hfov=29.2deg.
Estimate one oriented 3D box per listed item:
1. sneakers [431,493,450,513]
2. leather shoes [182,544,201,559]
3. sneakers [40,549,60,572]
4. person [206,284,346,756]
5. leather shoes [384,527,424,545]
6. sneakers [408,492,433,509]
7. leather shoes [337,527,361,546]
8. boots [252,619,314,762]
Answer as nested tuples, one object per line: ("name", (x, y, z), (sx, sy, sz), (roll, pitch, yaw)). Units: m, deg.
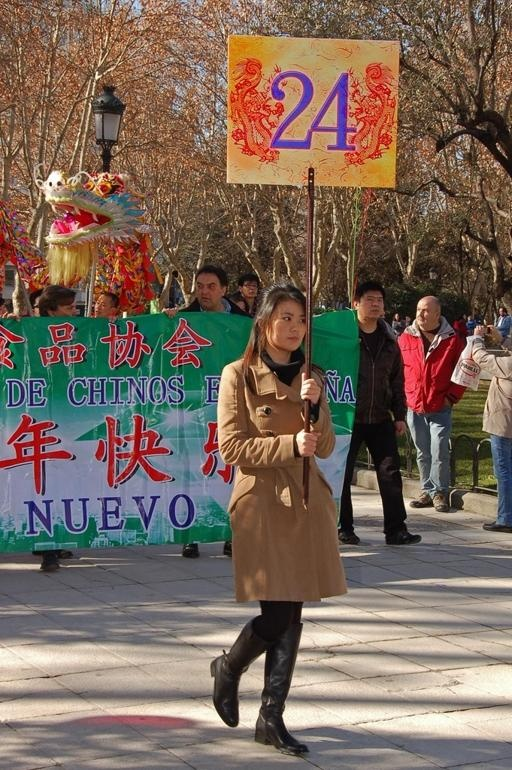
("sneakers", (1.709, 1.081, 9.054), (0.126, 0.157, 0.262), (1, 2, 7))
("leather shoes", (-0.472, 1.209, 7.146), (0.066, 0.105, 0.174), (3, -16, -7))
("sneakers", (-1.402, 1.201, 6.715), (0.156, 0.163, 0.140), (2, 1, 1))
("person", (0.065, 0.481, 3.760), (0.519, 1.732, 0.501), (2, 4, 16))
("leather shoes", (1.137, 1.181, 7.590), (0.309, 0.107, 0.105), (-5, -8, 15))
("sneakers", (1.571, 1.096, 9.277), (0.283, 0.096, 0.096), (2, 1, -27))
("leather shoes", (0.719, 1.184, 7.650), (0.143, 0.132, 0.351), (2, -7, -23))
("boots", (0.097, 1.129, 3.692), (0.195, 0.439, 0.340), (0, 3, -1))
